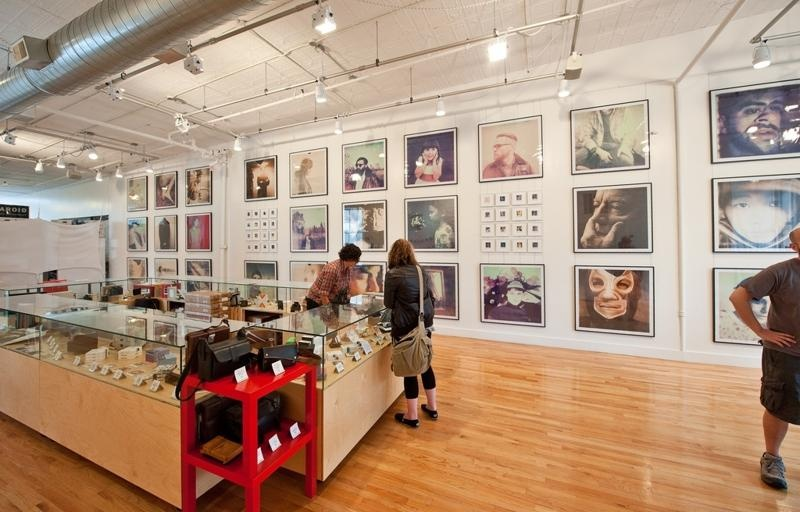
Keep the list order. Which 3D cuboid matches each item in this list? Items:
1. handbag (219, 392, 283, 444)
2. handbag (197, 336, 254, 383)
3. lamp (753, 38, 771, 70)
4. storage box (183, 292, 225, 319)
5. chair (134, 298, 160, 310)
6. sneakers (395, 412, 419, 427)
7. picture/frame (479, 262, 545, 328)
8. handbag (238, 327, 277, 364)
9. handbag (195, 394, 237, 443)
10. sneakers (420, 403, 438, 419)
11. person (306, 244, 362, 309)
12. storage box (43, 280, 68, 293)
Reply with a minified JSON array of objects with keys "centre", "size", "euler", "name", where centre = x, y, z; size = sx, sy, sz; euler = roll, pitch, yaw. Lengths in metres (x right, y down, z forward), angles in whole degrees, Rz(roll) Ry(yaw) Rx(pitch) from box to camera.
[{"centre":[-2.136,2.152,7.341],"size":[0.600,0.541,0.819],"euler":[0,-1,25],"name":"handbag"},{"centre":[-2.387,1.306,7.252],"size":[0.510,0.665,0.928],"euler":[-2,0,32],"name":"handbag"},{"centre":[6.428,-3.561,9.144],"size":[0.268,0.571,0.556],"euler":[-1,0,35],"name":"lamp"},{"centre":[-3.336,0.841,8.898],"size":[0.604,0.438,0.621],"euler":[4,5,37],"name":"storage box"},{"centre":[-4.960,0.930,10.068],"size":[0.291,0.189,0.205],"euler":[1,-3,-11],"name":"chair"},{"centre":[0.101,2.590,8.248],"size":[0.409,0.142,0.150],"euler":[8,8,36],"name":"sneakers"},{"centre":[2.374,0.796,10.611],"size":[1.392,1.251,0.049],"euler":[1,-1,21],"name":"picture/frame"},{"centre":[-1.996,1.285,7.399],"size":[0.471,0.464,0.299],"euler":[3,-7,-29],"name":"handbag"},{"centre":[-2.587,2.290,7.219],"size":[0.308,0.683,0.737],"euler":[-1,-3,31],"name":"handbag"},{"centre":[0.484,2.504,8.378],"size":[0.128,0.133,0.343],"euler":[-2,8,-31],"name":"sneakers"},{"centre":[-1.155,0.359,8.909],"size":[0.832,1.017,1.020],"euler":[-1,0,-20],"name":"person"},{"centre":[-6.714,0.599,9.968],"size":[0.351,0.091,0.384],"euler":[5,6,34],"name":"storage box"}]
